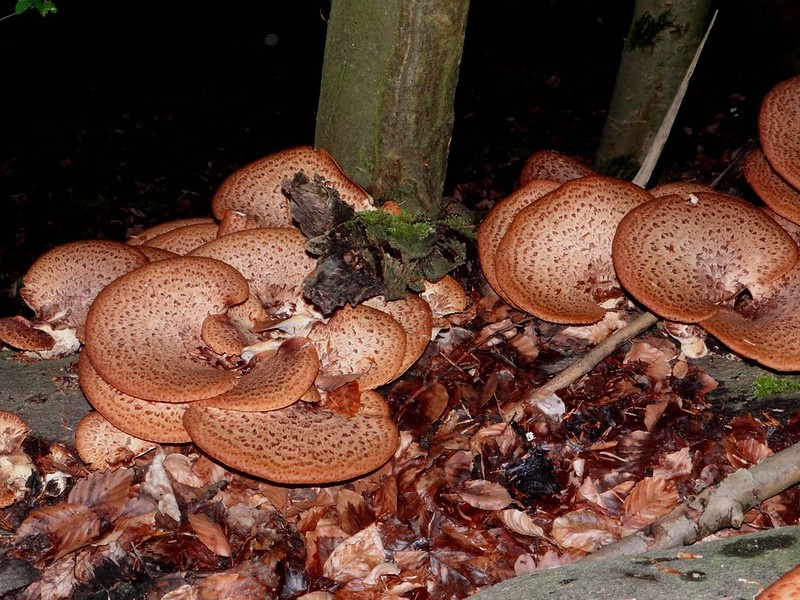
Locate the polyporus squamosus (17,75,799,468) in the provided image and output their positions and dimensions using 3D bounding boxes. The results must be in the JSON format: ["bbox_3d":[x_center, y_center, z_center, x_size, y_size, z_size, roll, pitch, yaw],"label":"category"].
[{"bbox_3d":[-0.009,-0.007,5.730,6.376,0.729,2.128,-6,82,-5],"label":"polyporus squamosus"}]
